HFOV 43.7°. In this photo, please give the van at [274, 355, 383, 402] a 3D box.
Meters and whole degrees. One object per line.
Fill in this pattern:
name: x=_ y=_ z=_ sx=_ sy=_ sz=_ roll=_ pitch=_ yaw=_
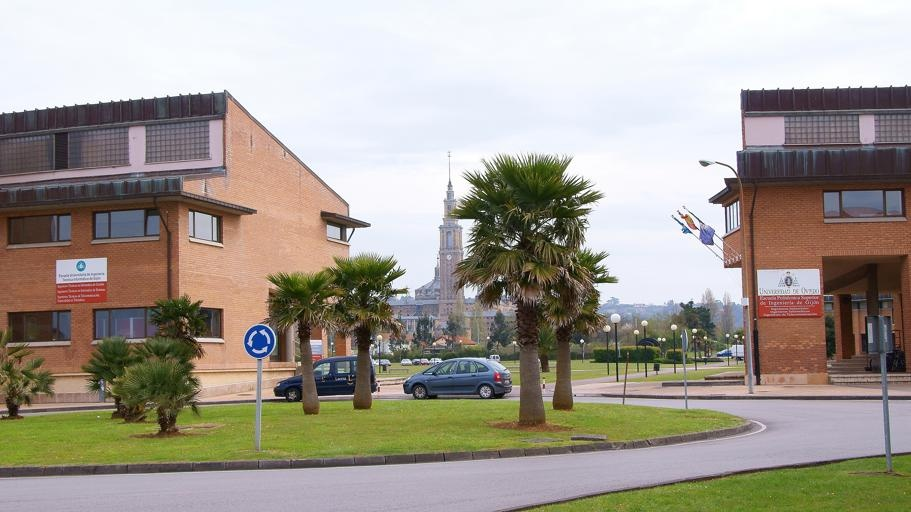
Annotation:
van: x=-6.609 y=6.737 z=63.673 sx=6.497 sy=2.466 sz=3.261 roll=-4 pitch=-4 yaw=22
